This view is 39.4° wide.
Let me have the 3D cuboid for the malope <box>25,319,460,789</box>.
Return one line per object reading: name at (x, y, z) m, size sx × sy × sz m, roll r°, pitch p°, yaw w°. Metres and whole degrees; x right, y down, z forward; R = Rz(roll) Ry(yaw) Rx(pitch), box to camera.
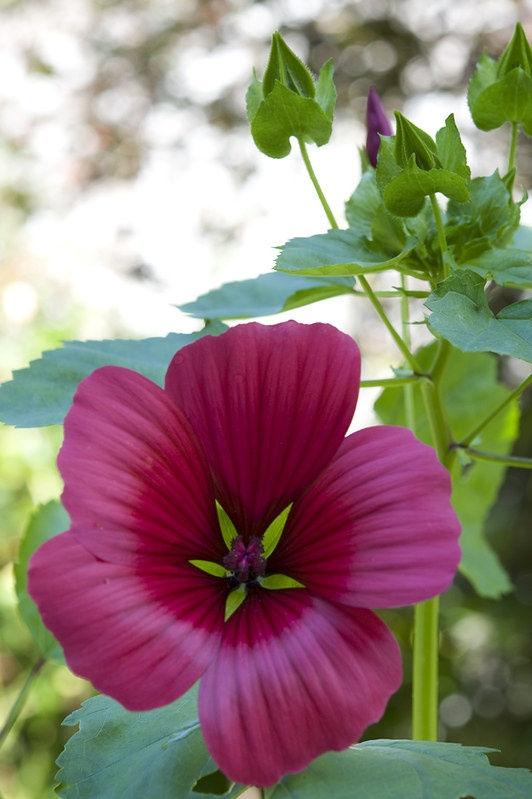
malope at (-0.006, 0.077, 0.399) m, size 0.223 × 0.134 × 0.216 m, roll -27°, pitch 49°, yaw -22°
